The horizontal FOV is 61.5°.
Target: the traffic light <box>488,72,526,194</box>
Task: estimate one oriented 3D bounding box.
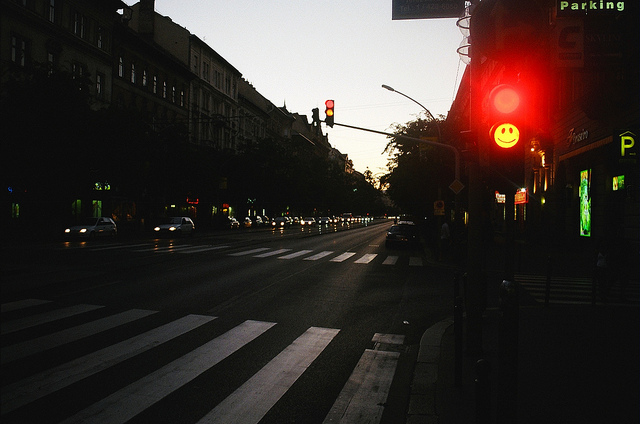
[{"bbox_3d":[3.344,-1.413,9.569,0.629,2.045,0.403,-3,-1,23],"label":"traffic light"}]

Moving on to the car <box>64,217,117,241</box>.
[{"bbox_3d":[-14.481,1.013,33.977,1.139,1.394,3.472,-3,-1,17],"label":"car"}]

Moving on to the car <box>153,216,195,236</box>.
[{"bbox_3d":[-10.264,0.985,37.871,1.411,1.369,2.946,-3,-1,18],"label":"car"}]

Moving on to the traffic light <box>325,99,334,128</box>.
[{"bbox_3d":[0.383,-3.812,21.163,0.323,0.783,1.125,-3,-1,0],"label":"traffic light"}]
